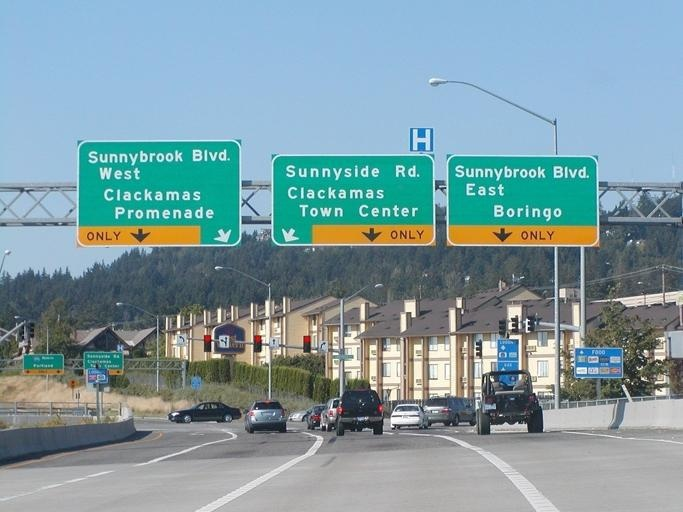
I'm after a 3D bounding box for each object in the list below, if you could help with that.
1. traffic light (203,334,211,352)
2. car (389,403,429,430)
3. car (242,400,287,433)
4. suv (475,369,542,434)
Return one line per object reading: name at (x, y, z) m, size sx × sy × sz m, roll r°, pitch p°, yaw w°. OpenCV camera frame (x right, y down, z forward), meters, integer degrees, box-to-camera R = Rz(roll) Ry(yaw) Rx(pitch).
traffic light at (-10.085, 6.685, 133.182) m, size 0.461 × 1.340 × 2.182 m, roll 0°, pitch -9°, yaw -8°
car at (4.471, 10.801, 117.942) m, size 2.276 × 1.539 × 1.221 m, roll -1°, pitch -8°, yaw -5°
car at (-4.800, 10.408, 113.082) m, size 2.453 × 2.093 × 1.510 m, roll -2°, pitch -8°, yaw 2°
suv at (9.524, 8.392, 100.843) m, size 3.528 × 3.627 × 2.048 m, roll -1°, pitch -8°, yaw -3°
